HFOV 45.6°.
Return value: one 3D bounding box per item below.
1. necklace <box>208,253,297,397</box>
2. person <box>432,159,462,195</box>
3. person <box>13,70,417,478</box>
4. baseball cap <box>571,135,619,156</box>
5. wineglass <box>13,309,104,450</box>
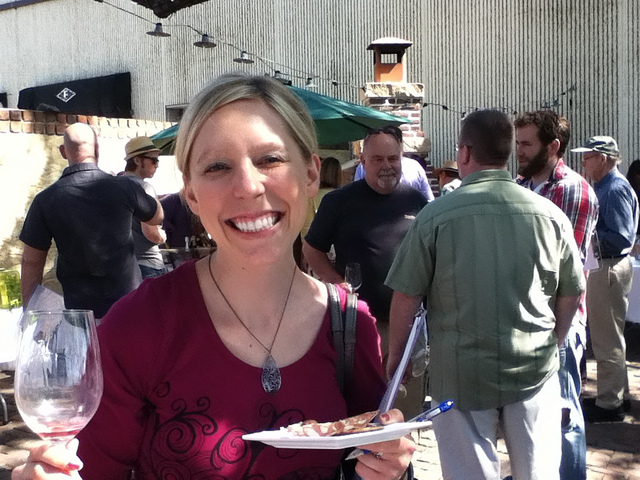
[{"bbox_3d":[-0.333,0.438,3.733,0.425,0.607,0.234,0,4,-5],"label":"necklace"},{"bbox_3d":[1.670,-0.831,9.934,0.619,0.472,0.802,1,0,5],"label":"person"},{"bbox_3d":[-0.407,0.193,3.700,1.384,1.981,0.420,1,4,3],"label":"person"},{"bbox_3d":[2.858,-0.963,7.878,0.412,0.203,0.303,5,5,17],"label":"baseball cap"},{"bbox_3d":[-1.197,0.604,3.591,0.321,0.732,0.340,0,3,16],"label":"wineglass"}]
